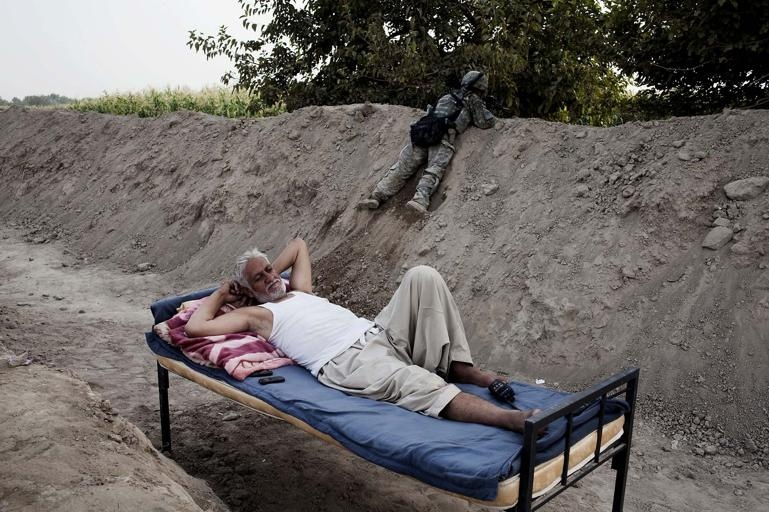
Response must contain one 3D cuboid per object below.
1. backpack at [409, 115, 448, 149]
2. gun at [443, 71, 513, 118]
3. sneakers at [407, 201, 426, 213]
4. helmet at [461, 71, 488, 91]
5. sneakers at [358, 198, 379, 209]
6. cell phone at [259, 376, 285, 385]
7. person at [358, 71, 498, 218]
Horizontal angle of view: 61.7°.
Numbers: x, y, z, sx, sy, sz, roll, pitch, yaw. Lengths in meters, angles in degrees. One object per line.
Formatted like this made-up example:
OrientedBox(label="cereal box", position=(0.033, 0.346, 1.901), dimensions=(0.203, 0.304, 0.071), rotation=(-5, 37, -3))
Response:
OrientedBox(label="backpack", position=(0.751, -2.088, 10.589), dimensions=(0.208, 0.471, 0.593), rotation=(-26, 14, -26))
OrientedBox(label="gun", position=(1.673, -2.639, 10.599), dimensions=(1.094, 0.603, 0.739), rotation=(20, 12, 1))
OrientedBox(label="sneakers", position=(0.517, -0.782, 10.226), dimensions=(0.289, 0.199, 0.207), rotation=(2, 3, 24))
OrientedBox(label="helmet", position=(1.470, -2.895, 10.502), dimensions=(0.368, 0.287, 0.315), rotation=(-15, -43, 7))
OrientedBox(label="sneakers", position=(-0.240, -0.851, 10.784), dimensions=(0.278, 0.115, 0.172), rotation=(19, 33, 41))
OrientedBox(label="cell phone", position=(-1.137, 1.257, 6.532), dimensions=(0.195, 0.035, 0.101), rotation=(-1, 11, -20))
OrientedBox(label="person", position=(0.868, -1.968, 10.908), dimensions=(1.367, 2.997, 0.894), rotation=(15, -32, 40))
